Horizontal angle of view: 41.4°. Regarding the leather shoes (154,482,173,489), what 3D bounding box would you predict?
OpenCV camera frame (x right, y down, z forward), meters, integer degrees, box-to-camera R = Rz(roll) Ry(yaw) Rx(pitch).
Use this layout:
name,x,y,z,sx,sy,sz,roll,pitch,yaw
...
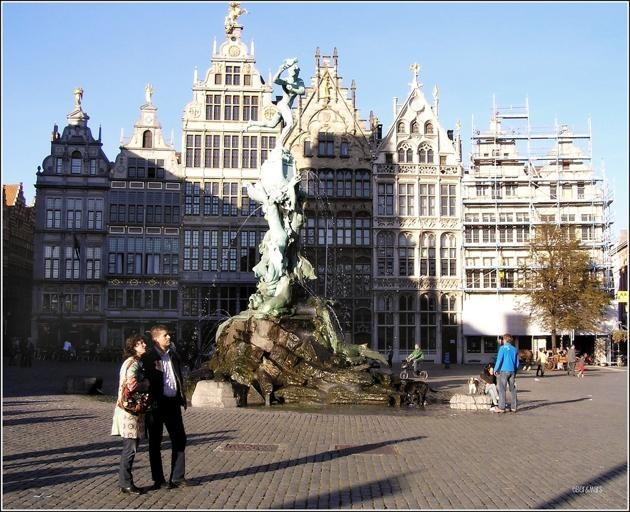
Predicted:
name,x,y,z,sx,sy,sz,roll,pitch,yaw
leather shoes,-2.479,3.754,13.636,0.326,0.098,0.096,0,-5,8

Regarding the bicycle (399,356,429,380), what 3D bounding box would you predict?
name,x,y,z,sx,sy,sz,roll,pitch,yaw
bicycle,4.546,5.033,37.185,1.724,1.024,0.881,2,-14,-5

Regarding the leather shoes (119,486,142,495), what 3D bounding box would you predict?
name,x,y,z,sx,sy,sz,roll,pitch,yaw
leather shoes,-2.960,3.740,13.348,0.287,0.117,0.148,1,-1,3
